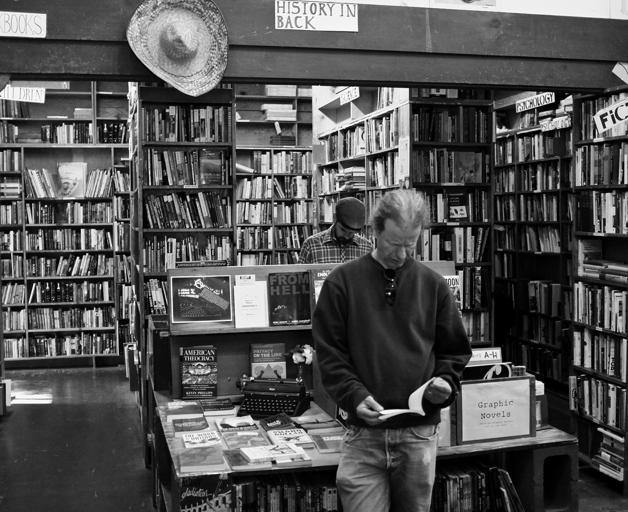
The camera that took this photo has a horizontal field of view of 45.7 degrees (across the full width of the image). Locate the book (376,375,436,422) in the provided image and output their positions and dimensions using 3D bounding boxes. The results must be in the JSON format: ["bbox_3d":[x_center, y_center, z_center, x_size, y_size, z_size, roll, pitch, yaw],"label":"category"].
[{"bbox_3d":[0.414,0.637,3.308,0.345,0.190,0.111,-2,-1,-24],"label":"book"}]

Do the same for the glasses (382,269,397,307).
[{"bbox_3d":[0.339,0.136,3.356,0.070,0.140,0.066,0,-3,3],"label":"glasses"}]
